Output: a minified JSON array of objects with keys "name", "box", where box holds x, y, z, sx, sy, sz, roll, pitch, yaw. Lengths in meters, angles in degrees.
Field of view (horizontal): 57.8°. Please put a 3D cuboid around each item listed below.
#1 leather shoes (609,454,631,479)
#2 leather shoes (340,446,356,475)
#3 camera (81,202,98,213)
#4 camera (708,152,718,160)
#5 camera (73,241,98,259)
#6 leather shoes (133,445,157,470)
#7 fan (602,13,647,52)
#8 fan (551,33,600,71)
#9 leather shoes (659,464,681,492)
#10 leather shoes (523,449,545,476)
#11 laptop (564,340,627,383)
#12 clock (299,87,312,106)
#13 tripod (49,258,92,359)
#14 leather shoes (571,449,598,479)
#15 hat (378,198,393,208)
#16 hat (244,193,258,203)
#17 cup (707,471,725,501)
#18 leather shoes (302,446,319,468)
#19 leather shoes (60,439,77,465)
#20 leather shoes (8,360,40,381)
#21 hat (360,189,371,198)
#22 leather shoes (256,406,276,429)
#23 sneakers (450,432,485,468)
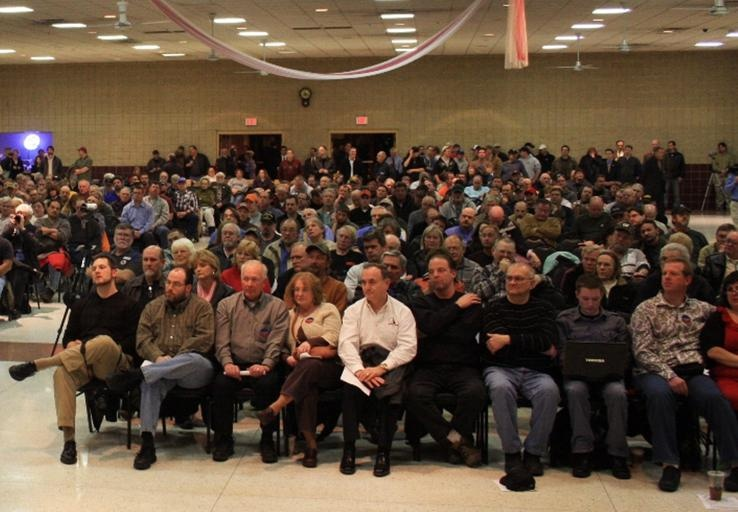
[{"name":"leather shoes","box":[2.214,1.866,5.876,0.100,0.169,0.284,-2,-10,5]},{"name":"leather shoes","box":[-0.188,1.801,5.981,0.146,0.208,0.231,-1,14,-3]},{"name":"camera","box":[-4.861,-0.841,11.640,0.309,0.186,0.126,9,-39,-43]},{"name":"camera","box":[10.959,-3.187,21.267,0.253,0.226,0.251,-14,8,-26]},{"name":"camera","box":[-4.612,-0.093,10.843,0.333,0.124,0.242,-9,13,26]},{"name":"leather shoes","box":[-2.006,1.825,6.010,0.103,0.119,0.276,0,-6,0]},{"name":"fan","box":[7.003,-6.269,18.158,0.930,0.322,1.442,-4,-11,22]},{"name":"fan","box":[6.705,-6.421,21.139,1.139,0.970,1.099,-1,0,9]},{"name":"leather shoes","box":[2.551,1.889,5.659,0.112,0.124,0.306,-6,1,22]},{"name":"leather shoes","box":[1.453,1.829,5.879,0.182,0.191,0.185,3,14,13]},{"name":"laptop","box":[2.038,0.938,5.976,0.549,0.341,0.387,1,11,7]},{"name":"clock","box":[-2.099,-5.363,22.531,0.460,0.616,0.177,-4,15,-12]},{"name":"tripod","box":[-3.762,0.638,8.404,0.329,1.422,0.257,29,-50,-27]},{"name":"leather shoes","box":[1.907,1.828,5.930,0.191,0.180,0.271,4,14,17]},{"name":"hat","box":[0.300,-0.900,11.230,0.227,0.102,0.217,9,-11,6]},{"name":"hat","box":[-1.906,-0.945,10.889,0.147,0.092,0.197,-1,-1,9]},{"name":"cup","box":[2.838,1.877,5.464,0.112,0.224,0.103,-1,14,0]},{"name":"leather shoes","box":[-0.538,1.827,6.110,0.154,0.166,0.231,-2,14,-5]},{"name":"leather shoes","box":[-2.723,1.794,6.086,0.112,0.107,0.264,2,9,-17]},{"name":"leather shoes","box":[-3.298,1.069,6.369,0.205,0.187,0.436,5,-7,-38]},{"name":"hat","box":[-0.049,-1.101,11.561,0.216,0.151,0.333,-1,-2,2]},{"name":"leather shoes","box":[-0.929,1.468,6.057,0.247,0.136,0.105,-45,-8,37]},{"name":"sneakers","box":[0.880,1.742,6.065,0.309,0.305,0.166,0,14,2]}]
